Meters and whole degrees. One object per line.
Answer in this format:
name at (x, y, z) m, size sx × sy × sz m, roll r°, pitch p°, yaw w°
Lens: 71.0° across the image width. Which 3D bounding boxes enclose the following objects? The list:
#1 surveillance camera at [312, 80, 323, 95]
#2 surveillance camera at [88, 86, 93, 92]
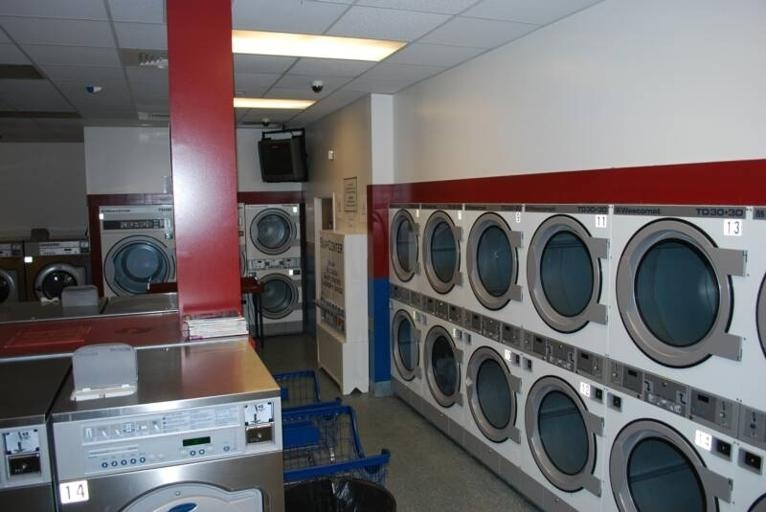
surveillance camera at (-0.703, -1.804, 5.689) m, size 0.088 × 0.075 × 0.094 m, roll 7°, pitch 13°, yaw 42°
surveillance camera at (-3.082, -1.770, 5.679) m, size 0.041 × 0.019 × 0.060 m, roll 0°, pitch -1°, yaw -14°
